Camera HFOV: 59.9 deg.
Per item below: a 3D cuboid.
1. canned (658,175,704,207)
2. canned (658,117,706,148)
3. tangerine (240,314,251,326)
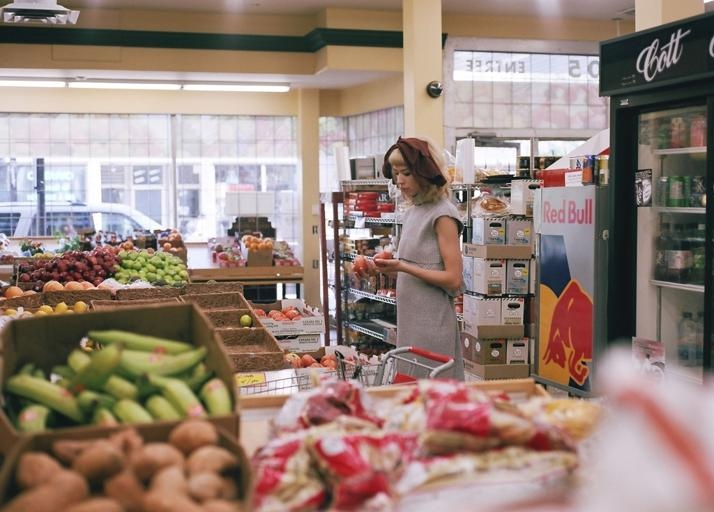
[{"bbox_3d":[2.012,-0.407,3.848,0.261,0.188,0.112,1,7,33],"label":"canned"},{"bbox_3d":[2.016,-0.762,3.810,0.135,0.112,0.226,0,-3,-11],"label":"canned"},{"bbox_3d":[-0.613,0.350,3.372,0.052,0.056,0.055,-1,-5,14],"label":"tangerine"}]
